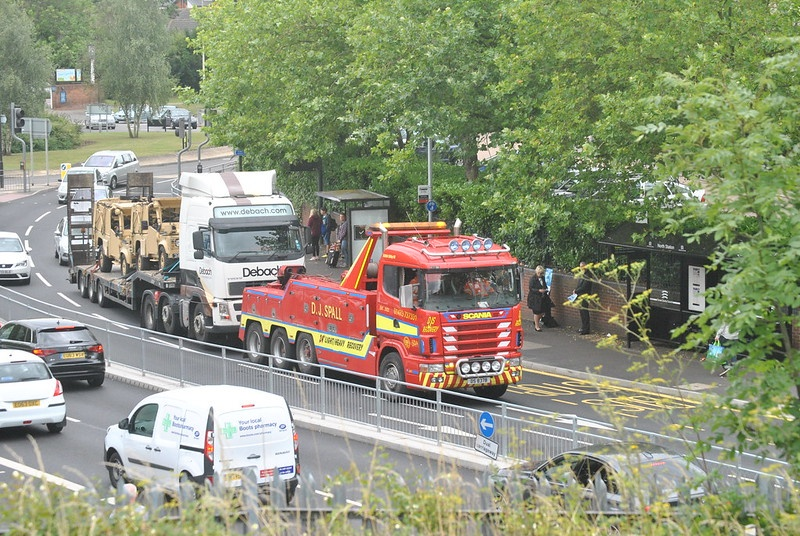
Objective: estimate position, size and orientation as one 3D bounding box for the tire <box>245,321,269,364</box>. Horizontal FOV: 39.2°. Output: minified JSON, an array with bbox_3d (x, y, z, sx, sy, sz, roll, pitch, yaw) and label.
[{"bbox_3d":[-4.045,2.076,31.876,0.364,1.093,1.042,1,-6,-30],"label":"tire"}]

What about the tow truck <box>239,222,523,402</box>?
[{"bbox_3d":[-0.592,0.744,30.064,3.435,4.058,8.646,-1,4,-40],"label":"tow truck"}]

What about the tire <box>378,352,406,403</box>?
[{"bbox_3d":[-0.157,2.596,26.925,0.343,1.096,0.918,5,-7,-32],"label":"tire"}]

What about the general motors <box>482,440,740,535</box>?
[{"bbox_3d":[3.396,3.652,18.204,1.600,1.167,3.417,-3,5,-42],"label":"general motors"}]

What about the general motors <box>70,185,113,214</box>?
[{"bbox_3d":[-13.537,-3.487,49.328,1.447,1.344,2.373,-5,21,-16],"label":"general motors"}]

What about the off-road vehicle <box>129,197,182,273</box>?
[{"bbox_3d":[-7.777,-1.243,37.366,1.630,1.714,2.690,-2,3,-23],"label":"off-road vehicle"}]

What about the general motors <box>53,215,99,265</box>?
[{"bbox_3d":[-14.042,-1.217,48.342,1.959,1.591,3.278,-1,4,-18],"label":"general motors"}]

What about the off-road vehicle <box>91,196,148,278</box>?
[{"bbox_3d":[-10.401,-1.290,40.868,1.834,2.020,3.165,-3,6,-28],"label":"off-road vehicle"}]

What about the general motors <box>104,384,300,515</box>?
[{"bbox_3d":[-3.901,3.415,21.581,3.786,2.022,1.641,5,11,28],"label":"general motors"}]

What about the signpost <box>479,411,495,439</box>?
[{"bbox_3d":[1.815,3.230,23.300,0.030,0.652,0.514,-1,1,-33],"label":"signpost"}]

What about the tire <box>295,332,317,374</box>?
[{"bbox_3d":[-2.490,2.234,29.994,0.293,0.868,0.831,-6,19,-27],"label":"tire"}]
